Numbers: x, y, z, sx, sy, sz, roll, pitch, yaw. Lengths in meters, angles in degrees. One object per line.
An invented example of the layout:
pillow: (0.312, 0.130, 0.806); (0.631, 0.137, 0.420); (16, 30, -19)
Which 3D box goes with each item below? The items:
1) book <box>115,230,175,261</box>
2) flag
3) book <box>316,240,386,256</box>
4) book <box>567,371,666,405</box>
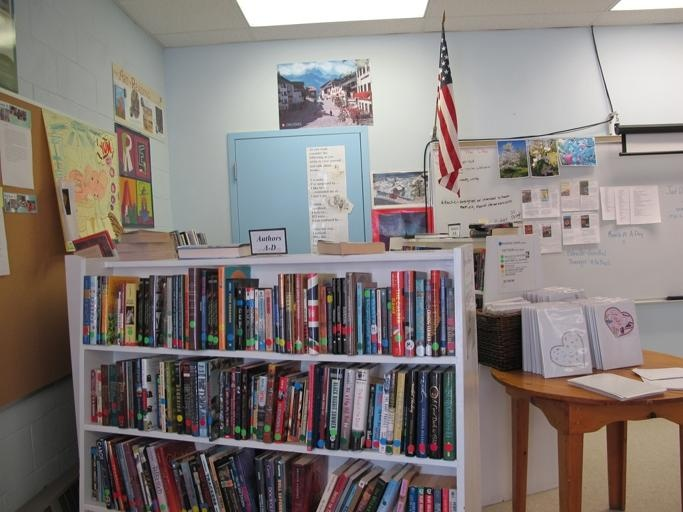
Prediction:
book: (-1.134, -0.030, 3.100); (0.180, 0.169, 0.256); (-2, 2, -35)
flag: (0.749, -1.048, 3.835); (0.148, 1.204, 0.263); (-3, 4, 12)
book: (0.047, -0.053, 2.784); (0.326, 0.091, 0.165); (-6, 5, -21)
book: (1.364, 0.639, 2.650); (0.375, 0.071, 0.263); (-6, 5, -18)
